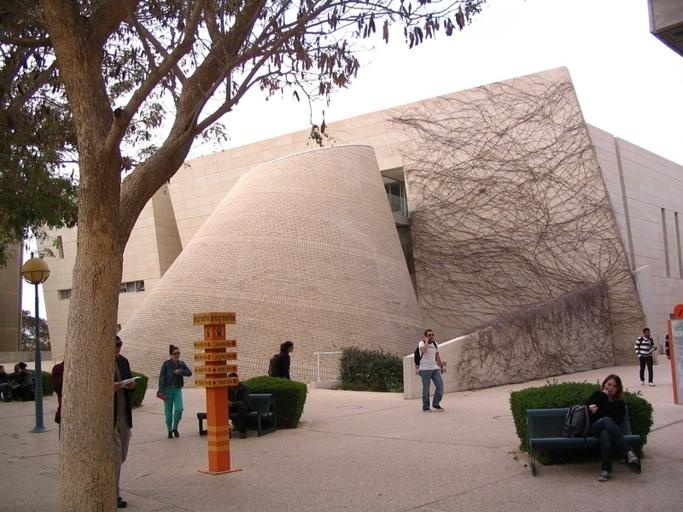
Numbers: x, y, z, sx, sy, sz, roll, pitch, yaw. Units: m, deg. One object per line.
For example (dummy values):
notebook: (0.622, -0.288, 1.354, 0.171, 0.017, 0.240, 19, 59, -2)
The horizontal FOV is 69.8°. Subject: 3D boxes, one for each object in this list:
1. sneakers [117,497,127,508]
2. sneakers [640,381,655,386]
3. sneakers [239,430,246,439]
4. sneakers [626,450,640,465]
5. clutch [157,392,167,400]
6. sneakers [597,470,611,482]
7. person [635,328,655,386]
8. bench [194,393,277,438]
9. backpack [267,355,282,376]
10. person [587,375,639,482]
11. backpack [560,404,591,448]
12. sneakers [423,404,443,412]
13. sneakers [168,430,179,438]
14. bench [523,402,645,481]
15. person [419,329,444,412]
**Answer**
sneakers: (-2.318, 2.590, 5.159, 0.055, 0.072, 0.162, 3, -9, -35)
sneakers: (8.459, 3.540, 13.543, 0.126, 0.166, 0.372, 3, -2, -32)
sneakers: (-1.795, 3.177, 8.695, 0.190, 0.139, 0.067, -2, -1, 15)
sneakers: (3.318, 2.303, 5.599, 0.106, 0.077, 0.168, -2, 1, -10)
clutch: (-3.243, 2.542, 8.808, 0.171, 0.180, 0.047, 16, 10, 29)
sneakers: (2.939, 2.469, 5.492, 0.071, 0.083, 0.203, -8, -14, 18)
person: (8.640, 2.858, 13.889, 0.455, 1.553, 2.143, -8, -15, 30)
bench: (-1.906, 2.974, 9.252, 1.182, 0.719, 0.680, -6, -11, 24)
backpack: (-1.537, 2.501, 11.253, 0.220, 0.509, 0.542, 0, -13, -7)
person: (3.253, 2.117, 5.869, 0.539, 1.150, 0.808, 8, -52, 19)
backpack: (2.805, 2.045, 5.842, 0.218, 0.404, 0.398, 33, -36, -24)
sneakers: (2.056, 3.407, 10.936, 0.507, 0.212, 0.176, -1, 0, -6)
sneakers: (-3.063, 3.245, 8.903, 0.095, 0.116, 0.261, 3, -19, -41)
bench: (2.855, 2.178, 5.835, 1.164, 0.673, 0.535, -7, -9, 13)
person: (2.042, 2.611, 11.276, 0.533, 1.799, 0.861, -3, -12, 9)
